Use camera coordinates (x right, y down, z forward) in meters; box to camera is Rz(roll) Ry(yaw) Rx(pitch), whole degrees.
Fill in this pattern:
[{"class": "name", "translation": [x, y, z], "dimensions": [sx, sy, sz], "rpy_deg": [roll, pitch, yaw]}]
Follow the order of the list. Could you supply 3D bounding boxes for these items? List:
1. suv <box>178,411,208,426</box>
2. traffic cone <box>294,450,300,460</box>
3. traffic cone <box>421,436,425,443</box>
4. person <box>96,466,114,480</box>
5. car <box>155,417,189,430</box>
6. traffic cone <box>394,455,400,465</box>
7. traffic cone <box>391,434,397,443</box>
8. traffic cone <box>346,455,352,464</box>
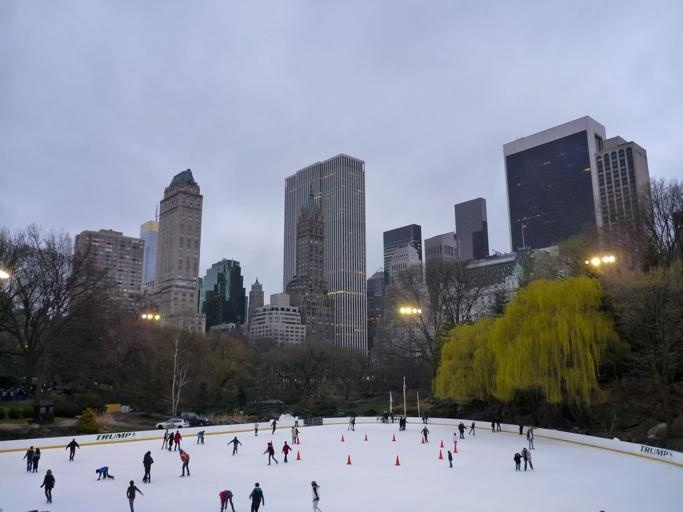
[{"class": "suv", "translation": [-15.955, 17.954, 72.571], "dimensions": [2.620, 1.386, 1.667], "rpy_deg": [-1, -9, 7]}, {"class": "traffic cone", "translation": [-3.327, 15.670, 51.801], "dimensions": [0.477, 0.748, 0.529], "rpy_deg": [2, -11, -4]}, {"class": "traffic cone", "translation": [7.141, 16.271, 58.417], "dimensions": [0.415, 0.538, 0.447], "rpy_deg": [-1, -9, 13]}, {"class": "person", "translation": [-16.268, 14.969, 45.804], "dimensions": [1.092, 0.921, 1.363], "rpy_deg": [0, -3, -24]}, {"class": "car", "translation": [-17.037, 17.374, 67.639], "dimensions": [2.856, 1.085, 6.044], "rpy_deg": [0, -3, -10]}, {"class": "traffic cone", "translation": [4.174, 15.354, 49.345], "dimensions": [0.438, 0.718, 0.518], "rpy_deg": [0, -9, 1]}, {"class": "traffic cone", "translation": [4.865, 16.882, 60.948], "dimensions": [0.396, 0.520, 0.439], "rpy_deg": [1, -12, -4]}, {"class": "traffic cone", "translation": [0.626, 15.394, 49.925], "dimensions": [0.481, 0.630, 0.527], "rpy_deg": [2, -6, -6]}]
